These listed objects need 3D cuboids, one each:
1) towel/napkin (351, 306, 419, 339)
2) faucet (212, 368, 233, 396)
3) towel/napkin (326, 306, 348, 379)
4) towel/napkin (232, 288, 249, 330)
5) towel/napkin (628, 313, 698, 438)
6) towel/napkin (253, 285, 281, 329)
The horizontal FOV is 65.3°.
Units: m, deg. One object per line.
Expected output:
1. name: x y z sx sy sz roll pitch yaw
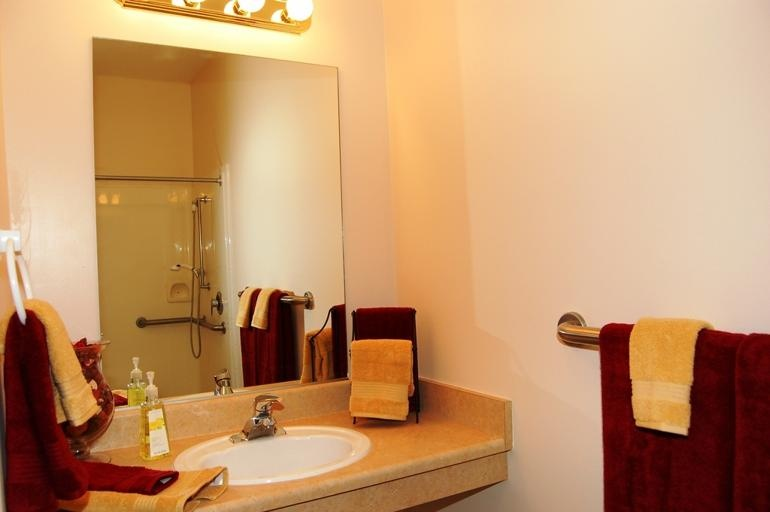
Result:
1. towel/napkin: -0.003 0.256 2.289 0.231 0.113 0.129 -2 5 -2
2. faucet: -0.593 0.474 2.253 0.081 0.086 0.076 2 -2 6
3. towel/napkin: -0.178 0.350 2.397 0.054 0.226 0.191 -6 0 9
4. towel/napkin: -0.518 0.194 2.218 0.085 0.120 0.032 0 -4 23
5. towel/napkin: 0.694 0.297 1.520 0.187 0.267 0.094 1 2 43
6. towel/napkin: -0.458 0.204 2.272 0.095 0.129 0.038 1 -1 14
